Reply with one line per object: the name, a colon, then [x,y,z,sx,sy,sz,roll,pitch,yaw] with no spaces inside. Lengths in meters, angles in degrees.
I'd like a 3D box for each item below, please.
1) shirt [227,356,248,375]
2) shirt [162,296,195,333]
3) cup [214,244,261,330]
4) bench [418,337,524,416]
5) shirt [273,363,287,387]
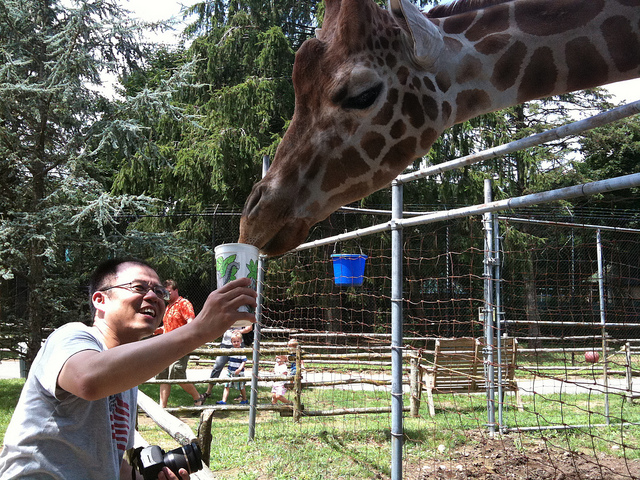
shirt: [-1.480,2.185,10.329,0.275,0.274,0.339,-1,-8,16]
shirt: [-2.142,1.109,8.834,0.365,0.497,0.633,4,-9,-24]
cup: [-0.482,0.152,3.399,0.253,0.264,0.249,1,-8,0]
bench: [2.306,2.148,9.264,1.420,1.242,2.580,-1,-8,12]
shirt: [-0.669,2.274,9.905,0.208,0.359,0.745,1,-8,-3]
